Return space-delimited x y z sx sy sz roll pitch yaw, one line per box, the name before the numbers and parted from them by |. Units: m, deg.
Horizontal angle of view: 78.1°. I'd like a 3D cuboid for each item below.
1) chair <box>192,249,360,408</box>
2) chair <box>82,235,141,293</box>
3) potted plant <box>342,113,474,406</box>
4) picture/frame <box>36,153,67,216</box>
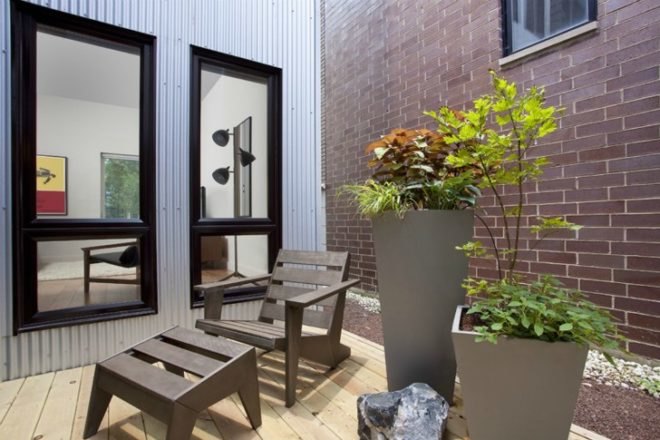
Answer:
chair | -0.325 0.639 3.266 1.021 1.118 1.167 -1 -1 32
chair | -1.856 0.351 3.398 0.426 0.518 0.347 2 -3 -34
potted plant | 0.556 0.292 2.920 0.555 1.840 0.794 8 3 10
picture/frame | -2.190 -0.269 3.196 0.201 0.465 0.063 -2 3 -18
